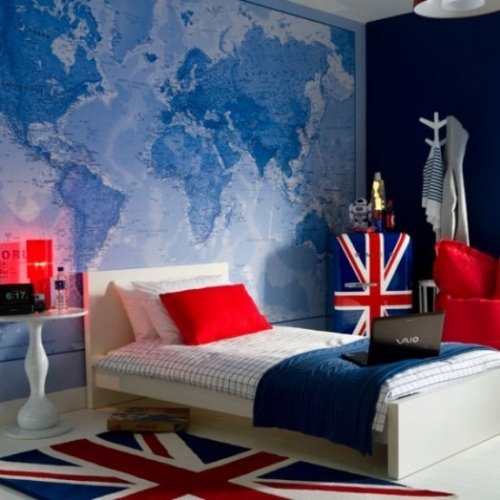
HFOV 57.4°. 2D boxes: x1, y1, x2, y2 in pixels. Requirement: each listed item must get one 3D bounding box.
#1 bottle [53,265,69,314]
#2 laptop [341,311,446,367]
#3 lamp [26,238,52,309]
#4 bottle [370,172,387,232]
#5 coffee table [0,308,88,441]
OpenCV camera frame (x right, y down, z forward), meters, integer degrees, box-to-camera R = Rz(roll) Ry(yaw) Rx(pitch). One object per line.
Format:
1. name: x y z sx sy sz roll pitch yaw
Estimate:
1. bottle: -1.267 0.246 3.054 0.096 0.305 0.372 1 -7 -22
2. laptop: 0.747 0.411 2.242 0.407 0.223 0.308 -3 2 -26
3. lamp: -1.400 0.153 3.030 0.171 0.448 0.074 3 -8 -32
4. bottle: 1.346 -0.500 4.793 0.146 0.640 0.247 -3 -7 15
5. coffee table: -1.305 0.717 2.910 0.677 0.726 0.652 -1 3 -3
